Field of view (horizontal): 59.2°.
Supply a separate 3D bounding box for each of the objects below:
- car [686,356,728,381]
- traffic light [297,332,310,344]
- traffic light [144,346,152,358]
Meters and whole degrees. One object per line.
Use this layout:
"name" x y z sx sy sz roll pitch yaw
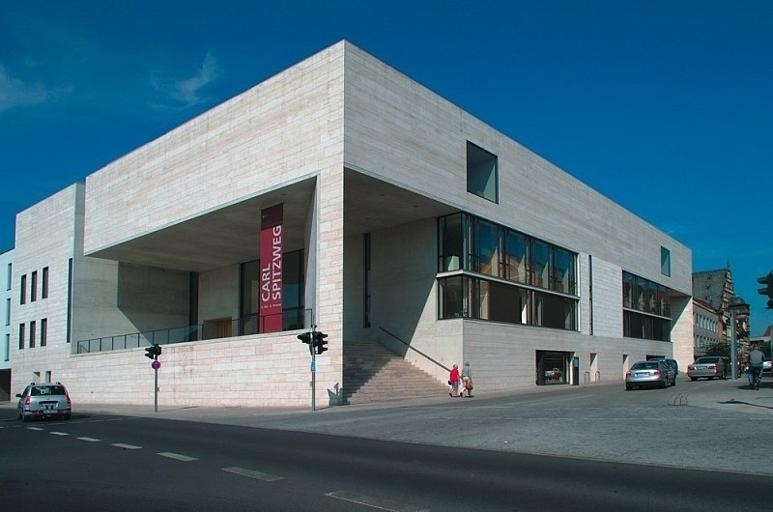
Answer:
"car" 22.758 8.017 48.110 1.958 1.723 3.725 -8 -15 33
"traffic light" -3.821 3.809 31.421 0.655 0.291 0.475 -1 -1 40
"traffic light" -12.506 5.106 35.827 0.344 0.531 0.889 4 -13 -18
